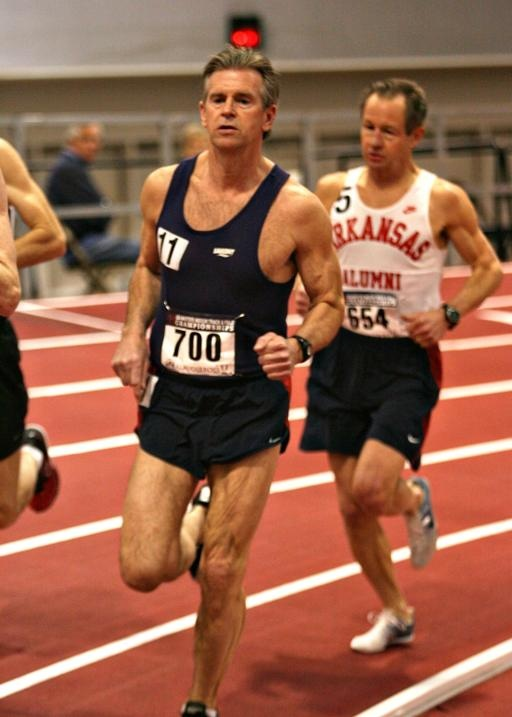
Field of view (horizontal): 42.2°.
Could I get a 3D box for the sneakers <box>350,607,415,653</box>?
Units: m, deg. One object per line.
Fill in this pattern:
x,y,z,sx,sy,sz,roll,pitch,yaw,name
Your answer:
0.415,0.877,2.173,0.248,0.098,0.091,-4,8,-30,sneakers

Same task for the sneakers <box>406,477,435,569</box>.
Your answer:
0.579,0.596,2.315,0.097,0.361,0.252,2,5,16,sneakers

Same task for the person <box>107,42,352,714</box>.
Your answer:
-0.120,0.067,1.672,0.605,1.684,0.629,2,5,12,person
